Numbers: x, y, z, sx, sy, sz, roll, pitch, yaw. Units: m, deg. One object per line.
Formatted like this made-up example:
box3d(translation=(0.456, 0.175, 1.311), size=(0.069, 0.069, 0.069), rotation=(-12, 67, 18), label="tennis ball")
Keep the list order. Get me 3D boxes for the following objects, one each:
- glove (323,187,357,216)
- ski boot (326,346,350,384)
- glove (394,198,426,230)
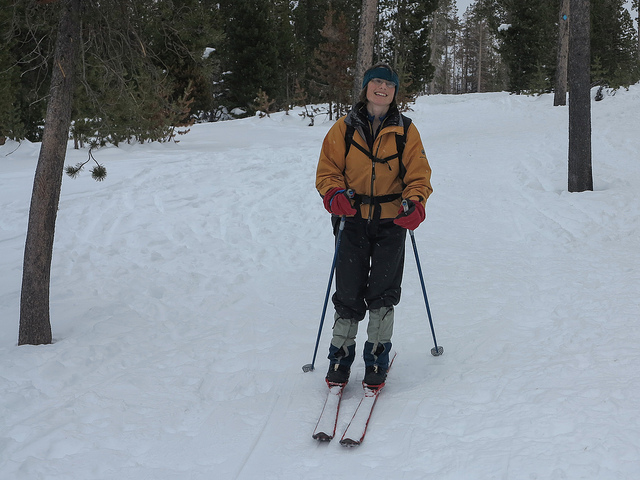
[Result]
box3d(translation=(0.189, -0.361, 5.648), size=(0.313, 0.265, 0.167), rotation=(1, 8, 3), label="glove")
box3d(translation=(0.193, 1.297, 5.893), size=(0.231, 0.264, 0.603), rotation=(-1, 0, 7), label="ski boot")
box3d(translation=(0.785, -0.253, 5.638), size=(0.295, 0.161, 0.391), rotation=(21, -20, 26), label="glove")
